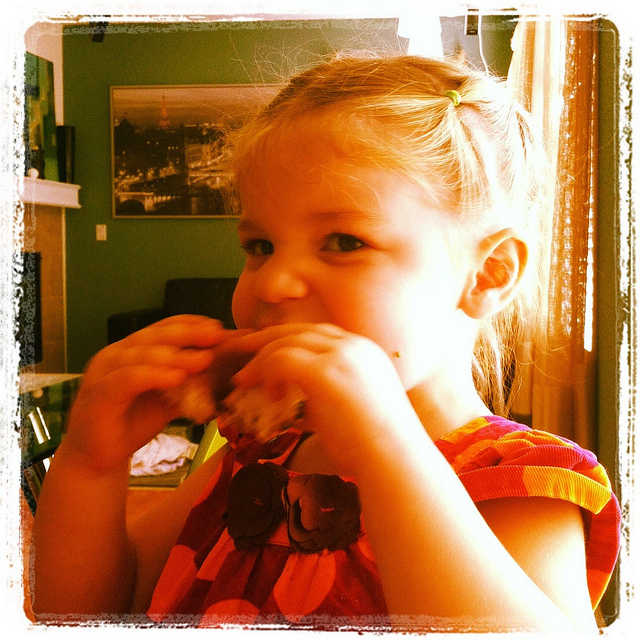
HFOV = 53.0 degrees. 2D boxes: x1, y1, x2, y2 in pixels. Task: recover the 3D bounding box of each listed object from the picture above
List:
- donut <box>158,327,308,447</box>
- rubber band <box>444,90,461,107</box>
[{"bbox_3d":[-0.069,0.080,0.552,0.109,0.108,0.044,45,14,33],"label":"donut"},{"bbox_3d":[0.123,-0.207,0.609,0.004,0.016,0.015,-19,-13,-15],"label":"rubber band"}]
